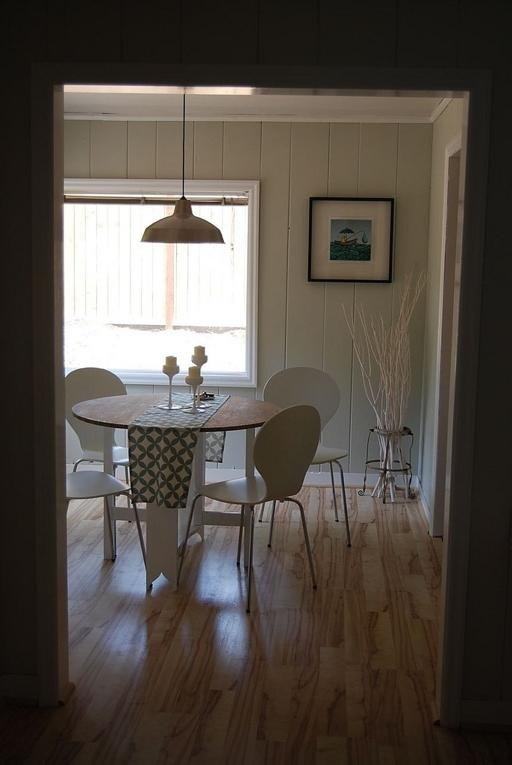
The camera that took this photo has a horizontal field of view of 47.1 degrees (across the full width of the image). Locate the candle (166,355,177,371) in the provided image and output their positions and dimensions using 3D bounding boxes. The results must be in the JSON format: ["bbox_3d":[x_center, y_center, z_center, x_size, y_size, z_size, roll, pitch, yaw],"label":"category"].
[{"bbox_3d":[-0.414,-0.094,2.916,0.053,0.081,0.056,-5,9,-37],"label":"candle"}]

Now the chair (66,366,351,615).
[{"bbox_3d":[-0.156,0.415,3.213,1.330,0.934,1.668,2,5,17],"label":"chair"}]

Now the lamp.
[{"bbox_3d":[-0.337,-0.980,2.737,0.312,0.742,0.376,0,0,15],"label":"lamp"}]

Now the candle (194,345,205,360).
[{"bbox_3d":[-0.286,-0.148,2.996,0.052,0.084,0.061,2,3,-11],"label":"candle"}]

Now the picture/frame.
[{"bbox_3d":[0.658,-0.984,3.975,0.396,0.547,0.037,1,7,6],"label":"picture/frame"}]
